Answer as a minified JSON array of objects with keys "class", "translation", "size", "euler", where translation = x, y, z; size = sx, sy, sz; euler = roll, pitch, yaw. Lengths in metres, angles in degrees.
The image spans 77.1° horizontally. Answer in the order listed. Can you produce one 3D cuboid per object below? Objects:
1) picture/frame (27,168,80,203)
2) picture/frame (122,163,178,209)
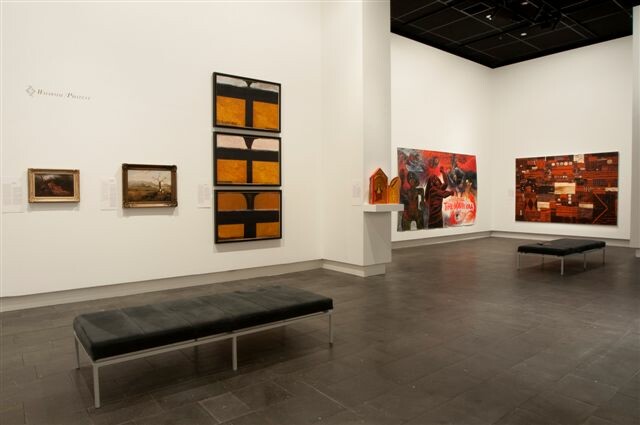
[{"class":"picture/frame","translation":[-5.556,-0.558,8.278],"size":[0.746,0.626,0.076],"euler":[-1,-2,-32]},{"class":"picture/frame","translation":[-3.954,-0.605,9.184],"size":[1.085,0.989,0.177],"euler":[1,-2,-36]}]
